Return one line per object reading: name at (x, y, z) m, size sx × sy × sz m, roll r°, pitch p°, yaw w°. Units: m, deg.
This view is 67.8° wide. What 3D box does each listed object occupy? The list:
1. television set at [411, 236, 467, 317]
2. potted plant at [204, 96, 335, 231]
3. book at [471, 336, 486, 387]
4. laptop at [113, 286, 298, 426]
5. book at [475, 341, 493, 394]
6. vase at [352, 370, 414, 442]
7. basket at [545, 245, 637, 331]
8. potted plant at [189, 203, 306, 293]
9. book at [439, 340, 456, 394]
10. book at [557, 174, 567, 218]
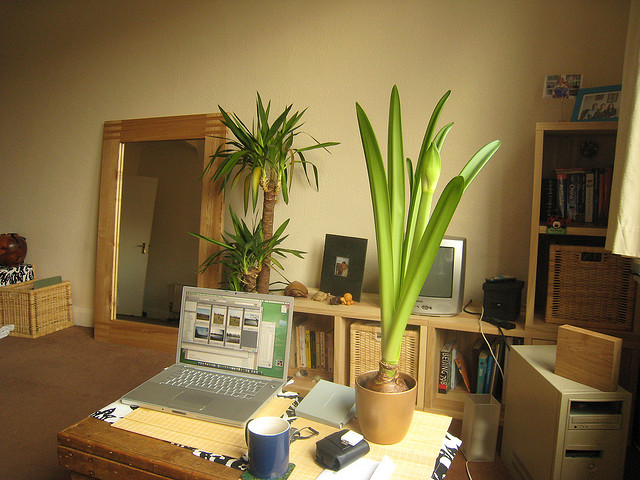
television set at (0.828, 0.277, 3.313) m, size 0.384 × 0.579 × 0.309 m, roll 6°, pitch 8°, yaw 23°
potted plant at (-0.472, -0.574, 3.835) m, size 1.025 × 1.149 × 1.056 m, roll 6°, pitch 14°, yaw 25°
book at (1.015, 0.791, 3.060) m, size 0.050 × 0.397 × 0.295 m, roll 3°, pitch 9°, yaw 16°
laptop at (-0.453, 0.448, 1.964) m, size 0.603 × 0.360 × 0.592 m, roll 4°, pitch 7°, yaw 27°
book at (1.073, 0.885, 3.130) m, size 0.095 × 0.269 × 0.279 m, roll 4°, pitch -14°, yaw 20°
vase at (0.234, 0.632, 1.811) m, size 0.219 × 0.199 × 0.253 m, roll 0°, pitch -5°, yaw -2°
basket at (1.626, 0.256, 2.998) m, size 0.456 × 0.476 × 0.475 m, roll 0°, pitch 6°, yaw 15°
potted plant at (-0.481, 0.094, 3.468) m, size 0.656 × 0.696 × 0.761 m, roll 20°, pitch 23°, yaw 28°
book at (0.856, 0.866, 3.317) m, size 0.108 × 0.326 × 0.353 m, roll 4°, pitch -19°, yaw 6°
book at (1.496, -0.247, 2.970) m, size 0.072 × 0.327 × 0.035 m, roll -1°, pitch -1°, yaw -11°
